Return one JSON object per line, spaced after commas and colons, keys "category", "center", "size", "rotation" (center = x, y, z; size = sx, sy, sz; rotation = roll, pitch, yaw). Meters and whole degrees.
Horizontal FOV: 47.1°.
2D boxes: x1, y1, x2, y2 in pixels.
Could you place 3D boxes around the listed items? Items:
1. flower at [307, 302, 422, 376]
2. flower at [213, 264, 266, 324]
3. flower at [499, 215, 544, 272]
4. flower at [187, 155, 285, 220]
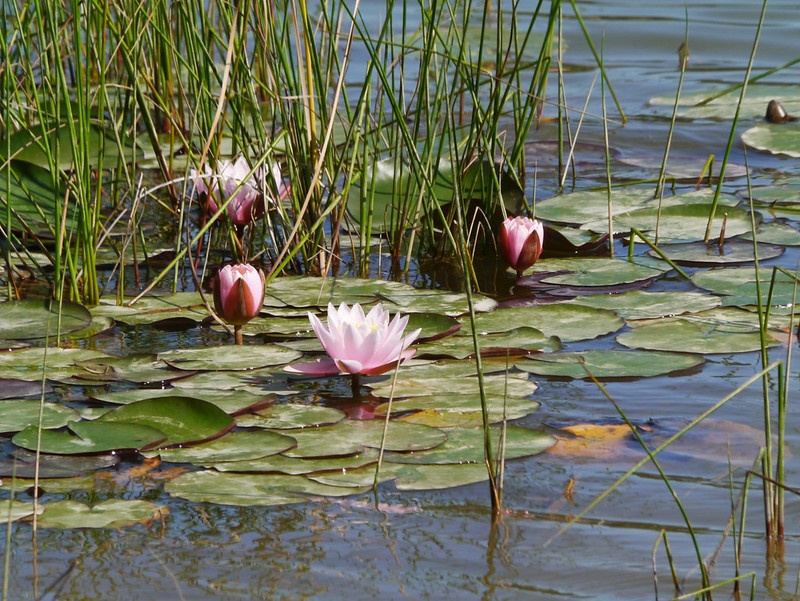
{"category": "flower", "center": [-0.096, 0.100, 2.348], "size": [0.211, 0.180, 0.177], "rotation": [11, 19, 28]}
{"category": "flower", "center": [-0.442, -0.014, 2.546], "size": [0.131, 0.181, 0.086], "rotation": [1, 19, -5]}
{"category": "flower", "center": [0.418, -0.179, 3.080], "size": [0.122, 0.206, 0.163], "rotation": [17, 22, 36]}
{"category": "flower", "center": [-0.540, -0.389, 3.081], "size": [0.271, 0.171, 0.306], "rotation": [-20, 26, -33]}
